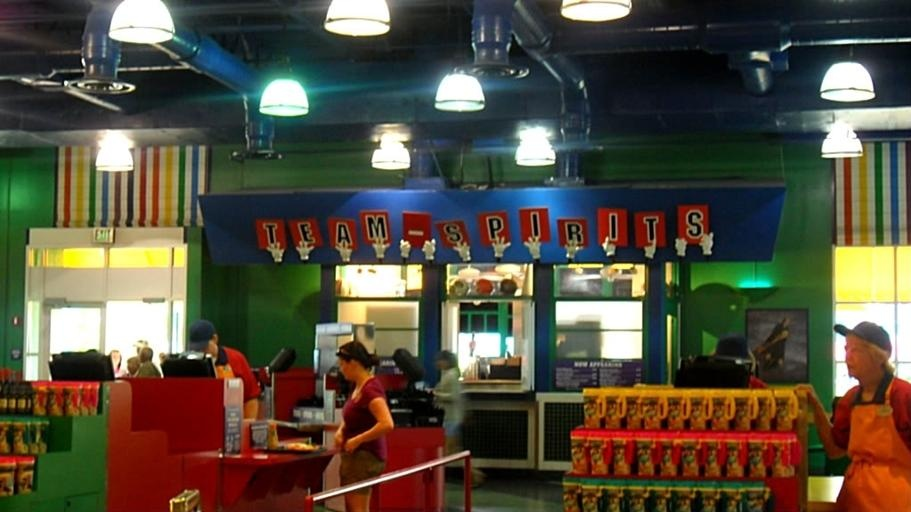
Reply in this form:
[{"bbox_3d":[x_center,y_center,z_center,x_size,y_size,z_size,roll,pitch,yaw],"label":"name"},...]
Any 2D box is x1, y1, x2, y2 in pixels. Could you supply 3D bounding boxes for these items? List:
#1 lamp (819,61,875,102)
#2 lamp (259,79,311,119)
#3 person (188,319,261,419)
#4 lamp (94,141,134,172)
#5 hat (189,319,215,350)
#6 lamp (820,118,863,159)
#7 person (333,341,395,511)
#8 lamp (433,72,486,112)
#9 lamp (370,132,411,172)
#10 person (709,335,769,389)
[{"bbox_3d":[5.236,-2.307,14.920,0.692,0.397,0.629,1,-5,0],"label":"lamp"},{"bbox_3d":[-2.299,-2.139,15.226,0.666,0.365,0.610,1,1,11],"label":"lamp"},{"bbox_3d":[-3.126,1.545,15.042,0.875,1.305,1.056,0,-5,-4],"label":"person"},{"bbox_3d":[-5.494,-1.561,18.015,0.642,0.368,0.576,0,-5,-3],"label":"lamp"},{"bbox_3d":[-3.398,1.058,14.833,0.328,0.390,0.262,0,-5,-4],"label":"hat"},{"bbox_3d":[5.853,-1.798,16.877,0.699,0.565,0.714,2,3,43],"label":"lamp"},{"bbox_3d":[-1.083,1.822,12.981,0.640,1.670,0.406,0,-6,-5],"label":"person"},{"bbox_3d":[0.068,-2.166,15.093,0.655,0.378,0.592,1,-3,3],"label":"lamp"},{"bbox_3d":[-1.028,-1.674,17.928,0.639,0.401,0.574,1,-5,-3],"label":"lamp"},{"bbox_3d":[3.528,1.343,13.892,0.764,0.913,0.763,-2,-4,8],"label":"person"}]
